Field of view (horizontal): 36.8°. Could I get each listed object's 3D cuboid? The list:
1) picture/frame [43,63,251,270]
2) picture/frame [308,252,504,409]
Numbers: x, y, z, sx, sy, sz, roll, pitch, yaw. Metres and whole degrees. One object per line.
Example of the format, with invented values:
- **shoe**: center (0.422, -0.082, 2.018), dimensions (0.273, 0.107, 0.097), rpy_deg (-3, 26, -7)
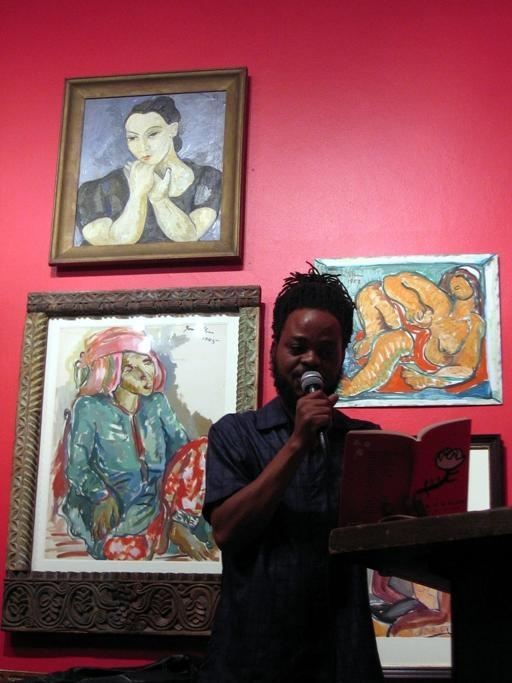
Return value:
- **picture/frame**: center (-0.353, -0.577, 2.637), dimensions (0.988, 0.789, 0.074), rpy_deg (-1, -21, 8)
- **picture/frame**: center (0.459, -0.014, 2.246), dimensions (0.662, 0.426, 0.036), rpy_deg (0, -18, 4)
